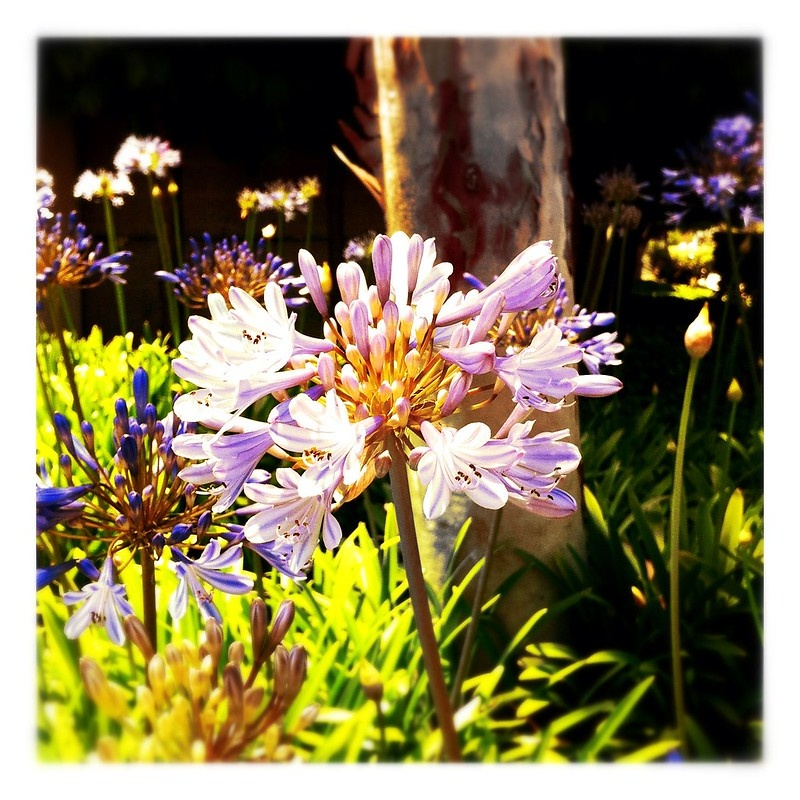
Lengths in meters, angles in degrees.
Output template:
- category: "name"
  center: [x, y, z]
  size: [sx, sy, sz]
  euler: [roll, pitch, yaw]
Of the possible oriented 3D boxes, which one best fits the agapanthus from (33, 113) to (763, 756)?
- category: "agapanthus"
  center: [-0.100, 0.055, 2.335]
  size: [1.160, 1.048, 1.585]
  euler: [-1, 45, 1]
